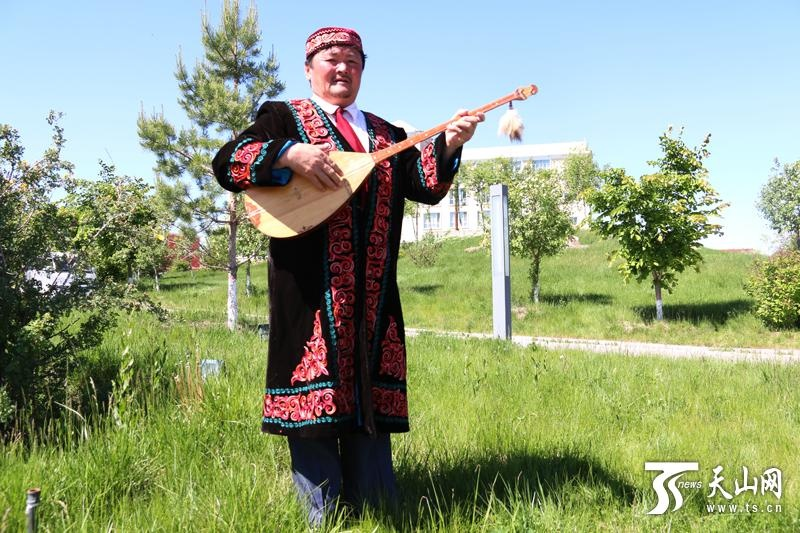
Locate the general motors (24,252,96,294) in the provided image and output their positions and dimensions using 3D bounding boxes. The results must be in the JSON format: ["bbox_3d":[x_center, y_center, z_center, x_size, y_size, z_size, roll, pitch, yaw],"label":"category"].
[{"bbox_3d":[-3.924,0.079,8.972,0.743,0.455,0.641,-4,11,-23],"label":"general motors"}]

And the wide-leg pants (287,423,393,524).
[{"bbox_3d":[-0.531,1.817,6.744,0.654,1.029,0.388,-1,-16,-17],"label":"wide-leg pants"}]
